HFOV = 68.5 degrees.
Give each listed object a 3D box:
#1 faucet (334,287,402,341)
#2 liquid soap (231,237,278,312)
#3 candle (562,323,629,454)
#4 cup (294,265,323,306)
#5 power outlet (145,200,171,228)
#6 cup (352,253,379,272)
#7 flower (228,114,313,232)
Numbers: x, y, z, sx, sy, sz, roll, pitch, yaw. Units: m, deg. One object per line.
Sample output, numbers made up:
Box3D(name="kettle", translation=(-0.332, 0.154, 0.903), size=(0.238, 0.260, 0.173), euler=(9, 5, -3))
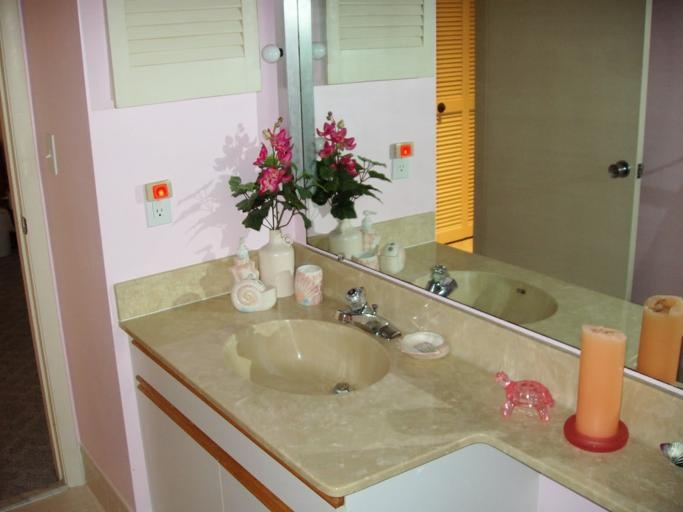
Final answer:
Box3D(name="faucet", translation=(0.084, 0.192, 1.665), size=(0.113, 0.109, 0.230), euler=(-22, 36, -33))
Box3D(name="liquid soap", translation=(-0.338, 0.072, 1.887), size=(0.142, 0.283, 0.190), euler=(-10, -8, 24))
Box3D(name="candle", translation=(0.579, 0.285, 1.119), size=(0.141, 0.273, 0.116), euler=(-1, 17, 5))
Box3D(name="cup", translation=(-0.119, 0.109, 1.892), size=(0.121, 0.142, 0.120), euler=(2, 16, -1))
Box3D(name="power outlet", translation=(-0.660, -0.157, 1.795), size=(0.079, 0.099, 0.012), euler=(-11, 18, -38))
Box3D(name="cup", translation=(0.075, 0.026, 1.766), size=(0.069, 0.052, 0.044), euler=(-4, 5, -30))
Box3D(name="flower", translation=(-0.273, -0.279, 1.848), size=(0.268, 0.387, 0.260), euler=(1, 6, -8))
